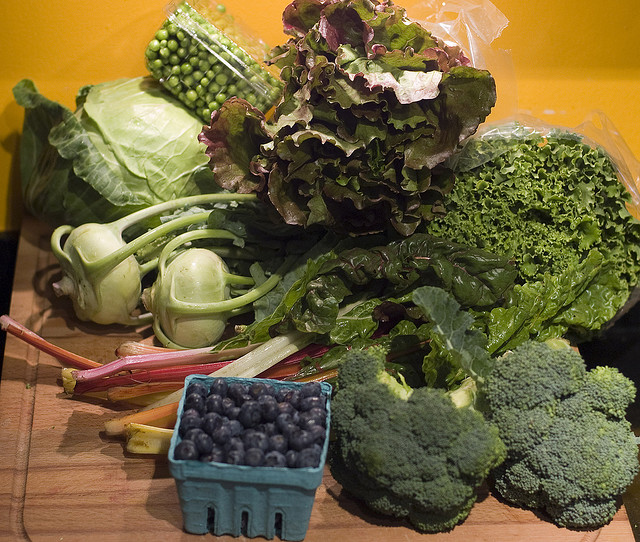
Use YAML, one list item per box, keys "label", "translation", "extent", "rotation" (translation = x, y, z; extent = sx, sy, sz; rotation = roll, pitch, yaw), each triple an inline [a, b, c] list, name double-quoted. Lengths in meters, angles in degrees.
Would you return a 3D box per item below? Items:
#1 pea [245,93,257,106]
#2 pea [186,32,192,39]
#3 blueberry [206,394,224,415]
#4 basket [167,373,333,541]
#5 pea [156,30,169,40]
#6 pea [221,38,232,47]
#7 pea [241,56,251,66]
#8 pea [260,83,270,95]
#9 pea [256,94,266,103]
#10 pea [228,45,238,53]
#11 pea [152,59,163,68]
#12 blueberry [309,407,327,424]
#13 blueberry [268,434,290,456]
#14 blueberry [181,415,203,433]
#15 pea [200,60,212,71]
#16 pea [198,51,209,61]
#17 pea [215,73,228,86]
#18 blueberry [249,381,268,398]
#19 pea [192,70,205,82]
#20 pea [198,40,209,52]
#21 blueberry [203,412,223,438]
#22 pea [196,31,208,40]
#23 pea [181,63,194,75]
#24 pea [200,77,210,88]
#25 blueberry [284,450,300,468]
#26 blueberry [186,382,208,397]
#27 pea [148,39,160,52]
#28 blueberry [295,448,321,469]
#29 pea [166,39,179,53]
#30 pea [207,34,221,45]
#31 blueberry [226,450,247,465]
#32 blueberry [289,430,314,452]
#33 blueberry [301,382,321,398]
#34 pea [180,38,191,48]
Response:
- label: "pea"
  translation: [-0.256, -0.645, 2.273]
  extent: [0.047, 0.044, 0.042]
  rotation: [4, 27, 19]
- label: "pea"
  translation: [-0.471, -0.847, 2.176]
  extent: [0.022, 0.017, 0.010]
  rotation: [17, 18, -17]
- label: "blueberry"
  translation: [-0.274, 0.350, 1.583]
  extent: [0.045, 0.048, 0.040]
  rotation: [-3, 22, 2]
- label: "basket"
  translation: [-0.182, 0.461, 1.680]
  extent: [0.428, 0.255, 0.453]
  rotation: [4, 28, -1]
- label: "pea"
  translation: [-0.565, -0.853, 2.183]
  extent: [0.041, 0.039, 0.016]
  rotation: [26, 16, 10]
- label: "pea"
  translation: [-0.340, -0.835, 2.205]
  extent: [0.038, 0.031, 0.016]
  rotation: [6, -28, -25]
- label: "pea"
  translation: [-0.269, -0.777, 2.227]
  extent: [0.033, 0.027, 0.028]
  rotation: [8, 52, -35]
- label: "pea"
  translation: [-0.202, -0.671, 2.231]
  extent: [0.048, 0.023, 0.024]
  rotation: [21, 38, -19]
- label: "pea"
  translation: [-0.222, -0.647, 2.281]
  extent: [0.023, 0.023, 0.022]
  rotation: [25, 51, 34]
- label: "pea"
  translation: [-0.318, -0.811, 2.207]
  extent: [0.027, 0.028, 0.021]
  rotation: [19, 17, -15]
- label: "pea"
  translation: [-0.590, -0.758, 2.212]
  extent: [0.034, 0.035, 0.025]
  rotation: [18, 17, -19]
- label: "blueberry"
  translation: [-0.001, 0.376, 1.582]
  extent: [0.047, 0.022, 0.037]
  rotation: [14, 18, 43]
- label: "blueberry"
  translation: [-0.107, 0.442, 1.533]
  extent: [0.050, 0.046, 0.046]
  rotation: [0, 2, -9]
- label: "blueberry"
  translation: [-0.325, 0.387, 1.546]
  extent: [0.044, 0.042, 0.023]
  rotation: [41, 13, -12]
- label: "pea"
  translation: [-0.415, -0.751, 2.219]
  extent: [0.035, 0.033, 0.031]
  rotation: [0, 10, 0]
- label: "pea"
  translation: [-0.422, -0.783, 2.205]
  extent: [0.031, 0.026, 0.032]
  rotation: [14, 18, -36]
- label: "pea"
  translation: [-0.360, -0.709, 2.235]
  extent: [0.044, 0.036, 0.035]
  rotation: [14, 51, -2]
- label: "blueberry"
  translation: [-0.162, 0.318, 1.613]
  extent: [0.039, 0.018, 0.037]
  rotation: [25, 53, 31]
- label: "pea"
  translation: [-0.448, -0.720, 2.239]
  extent: [0.041, 0.038, 0.039]
  rotation: [6, 6, 29]
- label: "pea"
  translation: [-0.419, -0.815, 2.192]
  extent: [0.036, 0.034, 0.032]
  rotation: [9, 10, -3]
- label: "blueberry"
  translation: [-0.273, 0.396, 1.541]
  extent: [0.061, 0.058, 0.056]
  rotation: [-2, -7, 21]
- label: "pea"
  translation: [-0.423, -0.846, 2.174]
  extent: [0.032, 0.028, 0.031]
  rotation: [7, 24, -35]
- label: "pea"
  translation: [-0.487, -0.742, 2.219]
  extent: [0.039, 0.041, 0.037]
  rotation: [28, 38, 13]
- label: "pea"
  translation: [-0.422, -0.698, 2.240]
  extent: [0.035, 0.034, 0.031]
  rotation: [11, 31, 12]
- label: "blueberry"
  translation: [-0.067, 0.469, 1.505]
  extent: [0.041, 0.035, 0.039]
  rotation: [4, 56, -4]
- label: "blueberry"
  translation: [-0.325, 0.315, 1.615]
  extent: [0.037, 0.032, 0.046]
  rotation: [-6, -14, 23]
- label: "pea"
  translation: [-0.596, -0.815, 2.186]
  extent: [0.044, 0.048, 0.022]
  rotation: [33, 17, 31]
- label: "blueberry"
  translation: [-0.029, 0.465, 1.497]
  extent: [0.053, 0.043, 0.025]
  rotation: [-20, -2, -7]
- label: "pea"
  translation: [-0.529, -0.815, 2.183]
  extent: [0.041, 0.038, 0.039]
  rotation: [31, 58, 22]
- label: "pea"
  translation: [-0.382, -0.840, 2.192]
  extent: [0.045, 0.034, 0.040]
  rotation: [2, 16, -11]
- label: "blueberry"
  translation: [-0.207, 0.461, 1.491]
  extent: [0.040, 0.038, 0.037]
  rotation: [0, 8, 19]
- label: "blueberry"
  translation: [-0.043, 0.431, 1.540]
  extent: [0.058, 0.049, 0.046]
  rotation: [-8, 59, 1]
- label: "blueberry"
  translation: [-0.024, 0.320, 1.621]
  extent: [0.050, 0.033, 0.034]
  rotation: [-20, 24, -13]
- label: "pea"
  translation: [-0.484, -0.825, 2.186]
  extent: [0.029, 0.032, 0.028]
  rotation: [-39, 64, -22]
